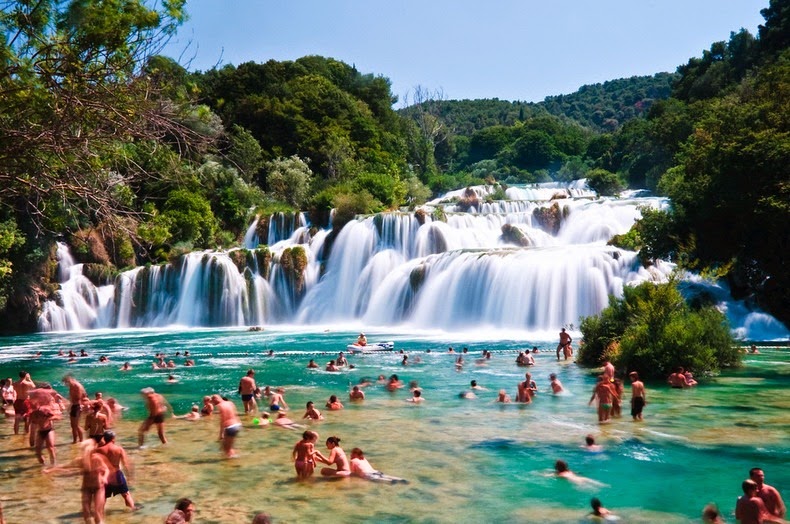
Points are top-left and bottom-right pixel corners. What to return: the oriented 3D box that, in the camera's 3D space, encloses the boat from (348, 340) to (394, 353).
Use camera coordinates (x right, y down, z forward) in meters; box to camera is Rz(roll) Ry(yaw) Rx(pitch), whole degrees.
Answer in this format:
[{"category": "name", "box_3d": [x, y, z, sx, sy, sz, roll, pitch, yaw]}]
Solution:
[{"category": "boat", "box_3d": [-1.489, 5.229, 34.718, 1.817, 0.518, 1.001, 3, -6, -6]}]
